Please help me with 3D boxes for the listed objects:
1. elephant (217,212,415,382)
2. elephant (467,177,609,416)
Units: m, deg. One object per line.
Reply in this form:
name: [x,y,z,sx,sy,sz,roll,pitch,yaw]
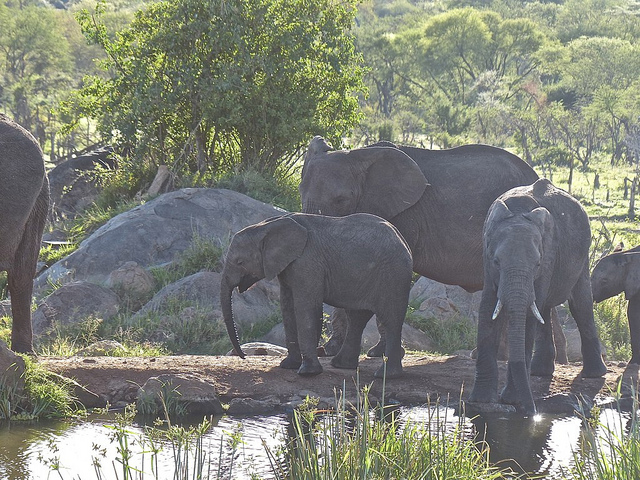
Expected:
elephant: [-0.016,0.717,12.627,2.482,2.161,1.062,1,4,-3]
elephant: [2.879,0.749,13.088,1.905,2.950,3.759,-2,-6,32]
